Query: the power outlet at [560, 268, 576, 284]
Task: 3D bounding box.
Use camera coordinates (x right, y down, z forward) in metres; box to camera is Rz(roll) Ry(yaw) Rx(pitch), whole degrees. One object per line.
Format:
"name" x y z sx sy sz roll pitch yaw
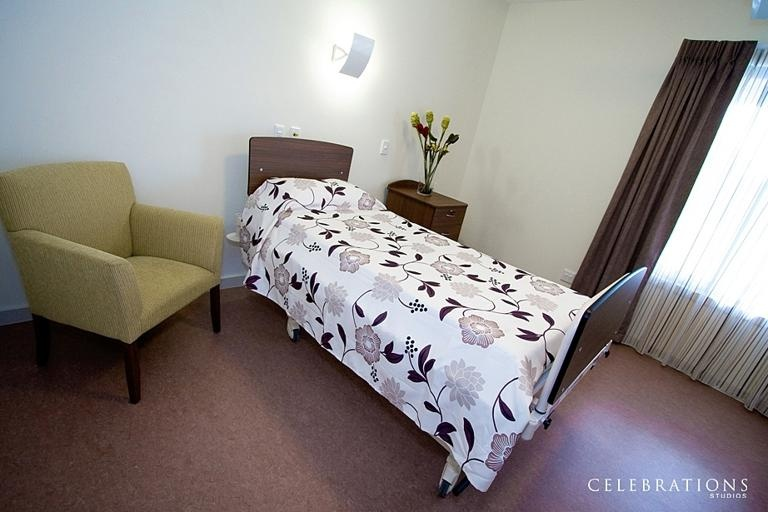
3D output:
"power outlet" 1.796 0.194 4.651 0.055 0.102 0.103 -17 43 -42

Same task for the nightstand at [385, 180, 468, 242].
"nightstand" 0.425 -0.316 4.874 0.609 0.731 0.574 -11 32 -44

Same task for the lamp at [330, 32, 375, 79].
"lamp" -0.237 -1.669 4.026 0.394 0.346 0.192 0 23 -24

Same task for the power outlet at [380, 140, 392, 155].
"power outlet" 0.021 -1.039 4.569 0.106 0.114 0.035 -16 34 -35
